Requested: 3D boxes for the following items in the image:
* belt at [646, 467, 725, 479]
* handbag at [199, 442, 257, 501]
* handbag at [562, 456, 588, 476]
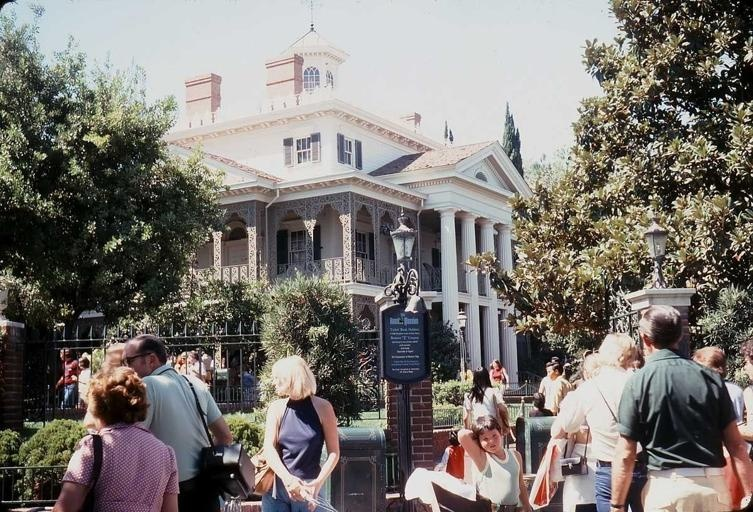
[{"bbox_3d":[2.644,1.842,6.861,0.590,0.086,0.145,-1,-11,1],"label":"belt"},{"bbox_3d":[-1.366,1.955,7.482,0.366,0.401,0.573,-10,-46,7],"label":"handbag"},{"bbox_3d":[2.040,2.161,8.320,0.229,0.190,0.177,-13,-28,24],"label":"handbag"}]
